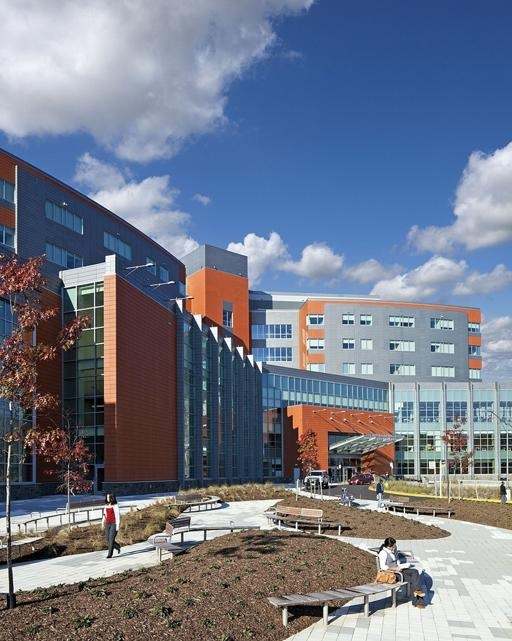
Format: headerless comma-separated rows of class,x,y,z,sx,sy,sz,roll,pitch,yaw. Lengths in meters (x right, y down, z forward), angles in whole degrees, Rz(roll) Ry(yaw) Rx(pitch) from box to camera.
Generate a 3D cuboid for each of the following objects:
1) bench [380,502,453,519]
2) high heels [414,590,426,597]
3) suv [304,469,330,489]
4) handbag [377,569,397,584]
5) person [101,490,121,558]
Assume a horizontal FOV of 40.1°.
bench,6.829,7.887,29.467,2.255,0.466,4.204,1,-10,-19
high heels,2.651,4.484,11.483,0.100,0.110,0.254,11,-20,-31
suv,3.776,10.073,44.025,0.933,0.780,1.976,-4,-26,8
handbag,2.167,4.297,11.659,0.350,0.243,0.182,-22,-60,44
person,-3.304,4.645,16.082,0.395,1.378,2.162,0,-10,-11
